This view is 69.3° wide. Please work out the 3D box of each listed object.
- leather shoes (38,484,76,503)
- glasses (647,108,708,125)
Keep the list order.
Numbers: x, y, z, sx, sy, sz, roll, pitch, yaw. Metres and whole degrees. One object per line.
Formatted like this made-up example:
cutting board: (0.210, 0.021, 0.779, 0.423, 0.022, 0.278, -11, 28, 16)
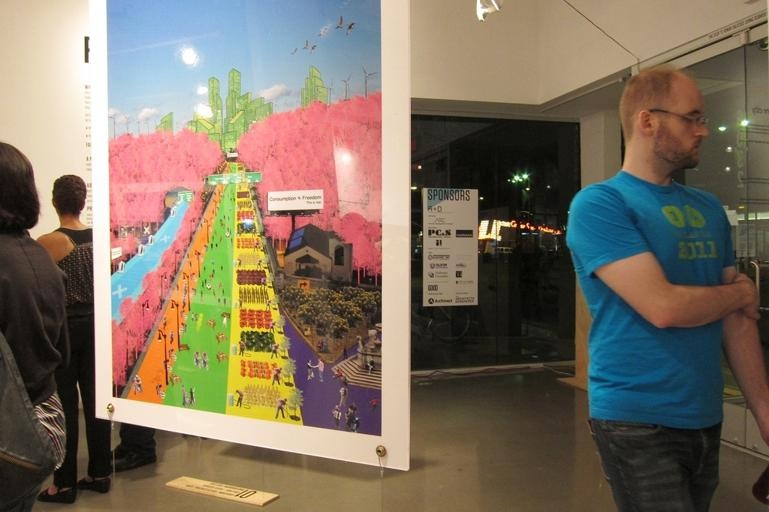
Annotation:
leather shoes: (-2.078, 1.519, 3.587, 0.253, 0.104, 0.098, 5, -1, 8)
glasses: (1.222, -0.578, 2.295, 0.116, 0.031, 0.113, 15, 9, 28)
